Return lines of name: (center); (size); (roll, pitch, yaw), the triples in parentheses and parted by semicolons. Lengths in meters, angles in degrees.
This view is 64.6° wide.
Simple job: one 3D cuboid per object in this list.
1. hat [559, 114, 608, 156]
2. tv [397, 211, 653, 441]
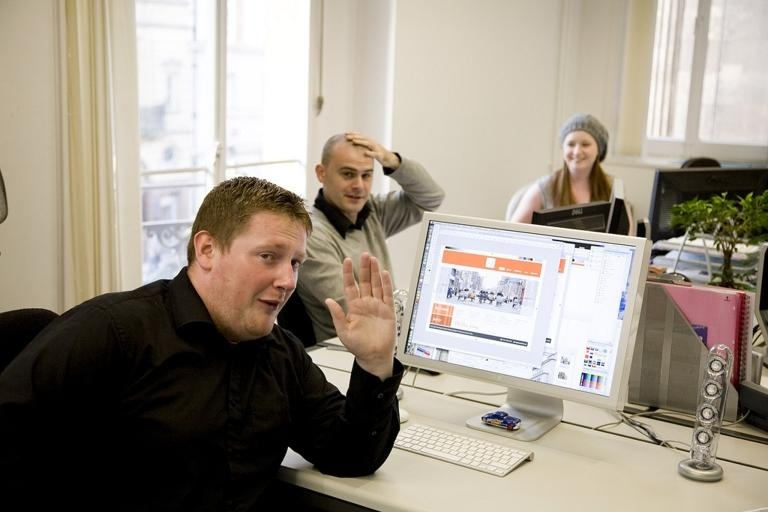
hat: (1.401, -0.841, 4.274); (0.326, 0.312, 0.252); (5, 14, 11)
tv: (0.470, 0.264, 2.043); (0.716, 0.614, 0.234); (6, 3, 29)
